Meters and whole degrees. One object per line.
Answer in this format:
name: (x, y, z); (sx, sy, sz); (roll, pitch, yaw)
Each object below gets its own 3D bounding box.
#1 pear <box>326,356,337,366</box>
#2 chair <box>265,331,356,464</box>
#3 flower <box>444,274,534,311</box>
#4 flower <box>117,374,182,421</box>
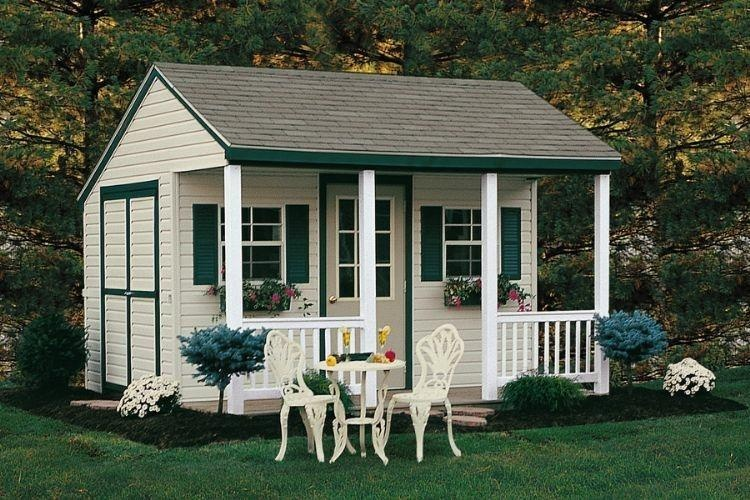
pear: (-0.600, 1.540, 13.726); (0.121, 0.124, 0.118); (-1, 0, 7)
chair: (-1.012, 1.990, 13.682); (0.993, 1.777, 0.621); (-1, 9, -4)
flower: (2.006, 0.775, 17.488); (1.649, 0.614, 0.396); (-3, 9, -15)
flower: (-3.557, 2.319, 15.538); (0.946, 0.614, 0.543); (-2, 9, -12)
